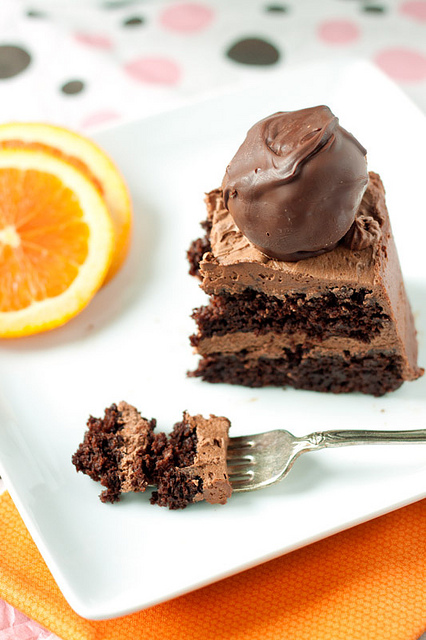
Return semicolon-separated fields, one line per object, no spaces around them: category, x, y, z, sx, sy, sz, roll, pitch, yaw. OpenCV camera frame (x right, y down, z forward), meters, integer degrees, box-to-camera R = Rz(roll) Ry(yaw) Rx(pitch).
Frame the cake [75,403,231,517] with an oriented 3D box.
cake;-0.208;0.497;2.420;0.541;0.155;0.350;8;42;2
